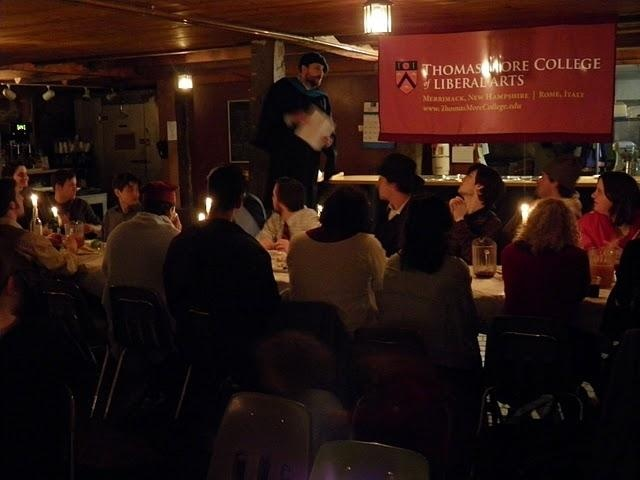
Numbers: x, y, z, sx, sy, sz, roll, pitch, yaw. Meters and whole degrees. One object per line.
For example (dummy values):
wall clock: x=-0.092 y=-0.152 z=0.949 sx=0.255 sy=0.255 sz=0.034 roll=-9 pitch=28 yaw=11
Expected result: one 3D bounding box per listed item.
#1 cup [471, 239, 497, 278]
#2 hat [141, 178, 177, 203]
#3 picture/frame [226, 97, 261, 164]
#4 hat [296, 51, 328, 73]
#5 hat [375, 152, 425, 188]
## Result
cup: x=1.187 y=0.150 z=4.048 sx=0.159 sy=0.274 sz=0.172 roll=11 pitch=4 yaw=-1
hat: x=-1.116 y=-0.334 z=3.942 sx=0.197 sy=0.114 sz=0.227 roll=2 pitch=7 yaw=6
picture/frame: x=-1.509 y=-2.223 z=11.409 sx=0.038 sy=1.270 sz=0.944 roll=9 pitch=15 yaw=38
hat: x=-0.062 y=-1.645 z=5.033 sx=0.290 sy=0.159 sz=0.220 roll=-2 pitch=9 yaw=0
hat: x=0.657 y=-0.556 z=4.569 sx=0.347 sy=0.135 sz=0.296 roll=37 pitch=14 yaw=34
